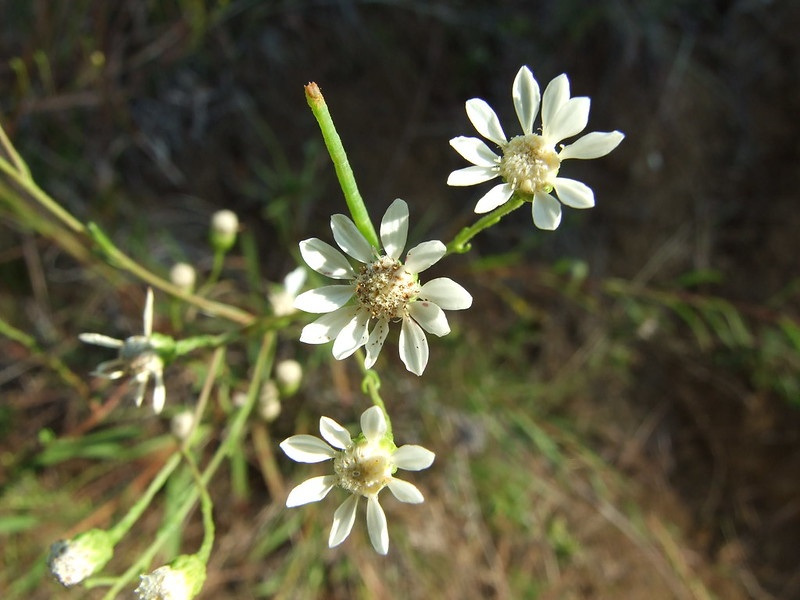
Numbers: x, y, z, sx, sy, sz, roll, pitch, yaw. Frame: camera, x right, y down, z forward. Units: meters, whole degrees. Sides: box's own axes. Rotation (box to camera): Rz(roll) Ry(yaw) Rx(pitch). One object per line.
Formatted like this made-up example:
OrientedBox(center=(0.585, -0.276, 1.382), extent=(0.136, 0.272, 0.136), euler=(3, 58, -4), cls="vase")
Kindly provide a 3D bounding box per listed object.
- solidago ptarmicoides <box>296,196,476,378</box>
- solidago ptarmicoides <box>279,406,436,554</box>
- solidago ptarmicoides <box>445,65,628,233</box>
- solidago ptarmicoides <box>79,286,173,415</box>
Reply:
OrientedBox(center=(-0.084, -0.081, 3.262), extent=(0.666, 0.283, 0.764), euler=(-20, 17, 4), cls="solidago ptarmicoides")
OrientedBox(center=(-0.183, 0.860, 3.192), extent=(0.634, 0.797, 0.392), euler=(13, 35, 24), cls="solidago ptarmicoides")
OrientedBox(center=(0.585, -0.619, 3.241), extent=(0.677, 0.759, 0.343), euler=(-6, 69, 38), cls="solidago ptarmicoides")
OrientedBox(center=(-1.224, 0.265, 3.343), extent=(0.537, 0.234, 0.458), euler=(42, 35, 27), cls="solidago ptarmicoides")
